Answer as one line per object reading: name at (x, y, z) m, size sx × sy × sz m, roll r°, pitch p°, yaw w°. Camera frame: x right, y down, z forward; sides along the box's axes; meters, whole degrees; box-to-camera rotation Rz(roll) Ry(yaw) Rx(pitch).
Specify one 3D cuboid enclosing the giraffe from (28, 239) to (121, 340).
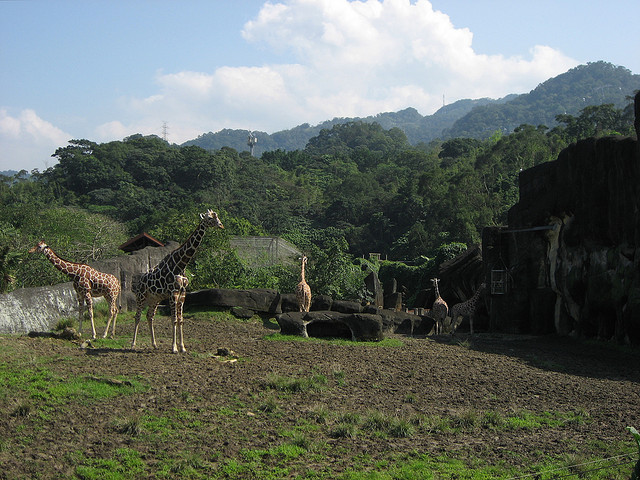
giraffe at (-5.960, 1.289, 15.222) m, size 1.505 × 2.572 × 2.107 m, roll 1°, pitch 7°, yaw 0°

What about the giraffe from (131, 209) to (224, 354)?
giraffe at (-3.639, 0.993, 14.756) m, size 1.953 × 3.575 × 2.891 m, roll -1°, pitch 8°, yaw -21°
